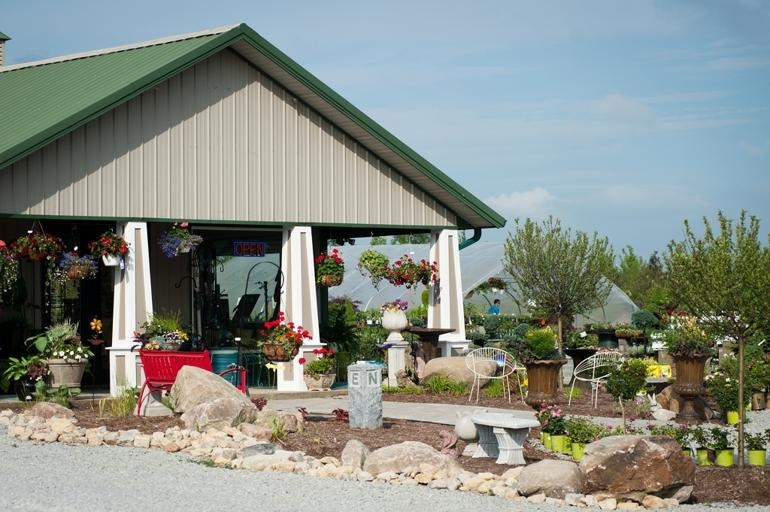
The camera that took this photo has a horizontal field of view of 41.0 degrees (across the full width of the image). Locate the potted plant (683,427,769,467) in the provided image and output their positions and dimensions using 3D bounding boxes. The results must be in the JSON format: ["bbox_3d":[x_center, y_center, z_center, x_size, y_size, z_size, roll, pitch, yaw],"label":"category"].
[{"bbox_3d":[5.208,2.801,15.535,1.305,0.575,2.191,-4,-9,16],"label":"potted plant"}]

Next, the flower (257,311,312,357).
[{"bbox_3d":[-2.019,1.609,19.994,0.991,0.774,0.917,5,-7,-21],"label":"flower"}]

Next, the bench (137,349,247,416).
[{"bbox_3d":[-3.325,2.148,17.874,1.052,1.129,1.707,-1,-1,20],"label":"bench"}]

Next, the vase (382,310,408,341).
[{"bbox_3d":[0.232,1.492,22.834,0.696,0.694,0.707,0,-3,-38],"label":"vase"}]

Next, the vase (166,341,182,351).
[{"bbox_3d":[-3.927,1.643,19.232,0.174,0.125,0.190,-1,-2,33],"label":"vase"}]

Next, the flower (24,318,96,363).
[{"bbox_3d":[-6.044,1.451,18.989,0.850,0.521,0.916,-13,5,-22],"label":"flower"}]

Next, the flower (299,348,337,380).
[{"bbox_3d":[-1.406,2.189,21.226,0.526,0.441,0.599,-4,-4,43],"label":"flower"}]

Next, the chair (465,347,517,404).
[{"bbox_3d":[2.186,2.366,21.083,0.984,1.193,0.734,0,-5,2],"label":"chair"}]

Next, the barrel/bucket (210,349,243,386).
[{"bbox_3d":[-3.276,2.226,20.987,0.605,1.115,0.775,0,0,-2],"label":"barrel/bucket"}]

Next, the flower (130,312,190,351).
[{"bbox_3d":[-4.205,1.431,19.224,0.793,0.531,0.801,3,-6,-44],"label":"flower"}]

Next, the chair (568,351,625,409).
[{"bbox_3d":[4.081,2.283,20.039,0.716,0.907,0.629,5,6,36],"label":"chair"}]

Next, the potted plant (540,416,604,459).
[{"bbox_3d":[2.921,2.744,15.830,0.747,0.574,0.568,0,-5,-1],"label":"potted plant"}]

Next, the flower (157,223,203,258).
[{"bbox_3d":[-4.053,-0.301,20.258,0.781,0.505,0.708,3,20,2],"label":"flower"}]

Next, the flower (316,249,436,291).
[{"bbox_3d":[-0.184,0.386,27.465,3.172,0.958,1.261,3,-11,-9],"label":"flower"}]

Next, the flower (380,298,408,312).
[{"bbox_3d":[0.243,1.086,23.105,0.585,0.359,0.612,-3,1,3],"label":"flower"}]
